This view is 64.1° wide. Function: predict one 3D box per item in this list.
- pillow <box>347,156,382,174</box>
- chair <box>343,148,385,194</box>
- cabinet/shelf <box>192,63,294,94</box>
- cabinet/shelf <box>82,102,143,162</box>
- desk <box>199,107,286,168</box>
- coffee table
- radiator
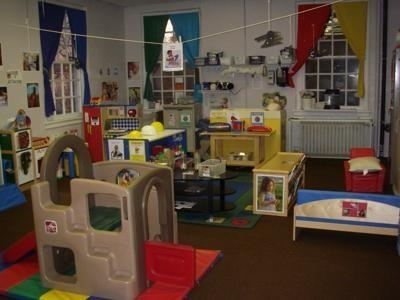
[{"bbox_3d":[3.250,0.282,6.245,0.607,0.268,0.436,4,12,25],"label":"pillow"},{"bbox_3d":[3.322,0.380,6.452,0.718,0.791,0.825,-2,10,15],"label":"chair"},{"bbox_3d":[1.305,-2.069,9.408,2.522,0.823,0.758,-3,-3,2],"label":"cabinet/shelf"},{"bbox_3d":[-2.096,-0.391,7.546,1.253,1.320,0.457,1,10,-6],"label":"cabinet/shelf"},{"bbox_3d":[1.264,-0.344,8.120,1.954,1.543,1.447,1,5,26],"label":"desk"},{"bbox_3d":[0.150,0.563,5.262,0.735,0.509,0.779,0,2,20],"label":"coffee table"},{"bbox_3d":[3.440,-0.304,8.906,1.637,1.019,0.123,-1,4,-21],"label":"radiator"}]
